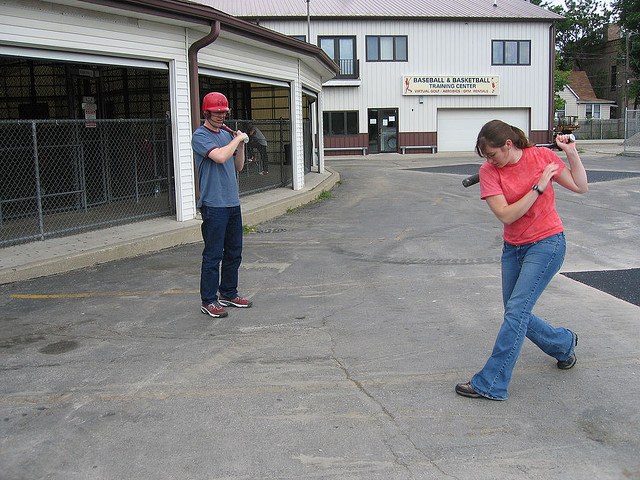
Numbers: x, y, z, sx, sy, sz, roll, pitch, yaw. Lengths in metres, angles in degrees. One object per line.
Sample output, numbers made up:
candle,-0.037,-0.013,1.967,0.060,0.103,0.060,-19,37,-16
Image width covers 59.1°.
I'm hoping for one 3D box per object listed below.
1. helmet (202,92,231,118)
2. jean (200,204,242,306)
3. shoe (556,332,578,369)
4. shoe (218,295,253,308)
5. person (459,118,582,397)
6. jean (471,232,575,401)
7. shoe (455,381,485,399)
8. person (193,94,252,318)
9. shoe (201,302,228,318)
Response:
helmet,-1.149,-1.522,6.244,0.202,0.132,0.265,-10,12,-39
jean,-1.152,0.157,6.498,0.302,1.173,0.520,7,16,41
shoe,2.219,0.975,4.978,0.110,0.151,0.322,-38,15,53
shoe,-1.018,0.741,6.785,0.397,0.159,0.147,1,2,-3
person,1.638,0.124,4.571,0.841,2.154,0.929,2,13,23
jean,1.643,0.582,4.618,1.033,1.261,0.416,-13,15,-38
shoe,1.183,1.196,4.514,0.242,0.099,0.090,10,-4,14
person,-1.157,-0.399,6.519,0.701,2.475,0.808,-6,12,-10
shoe,-1.203,0.810,6.475,0.330,0.135,0.130,2,4,27
